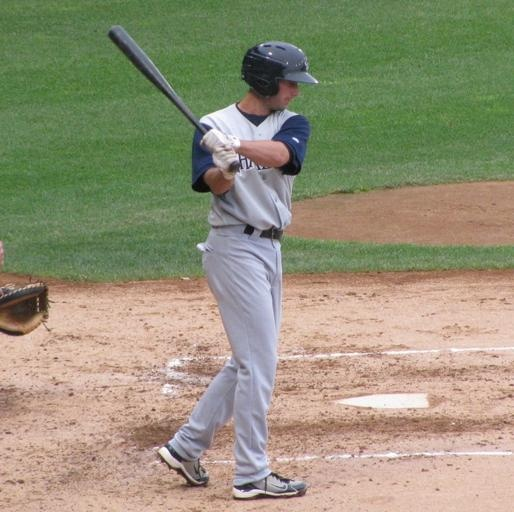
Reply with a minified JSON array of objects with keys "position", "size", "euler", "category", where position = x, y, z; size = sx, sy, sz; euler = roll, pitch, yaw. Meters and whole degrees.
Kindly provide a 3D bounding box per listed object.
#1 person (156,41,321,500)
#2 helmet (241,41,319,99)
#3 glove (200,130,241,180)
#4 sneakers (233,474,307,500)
[{"position":[-0.036,0.085,7.648],"size":[0.883,3.015,0.747],"euler":[3,11,-9],"category":"person"},{"position":[0.141,-1.231,7.603],"size":[0.513,0.279,0.338],"euler":[5,14,14],"category":"helmet"},{"position":[-0.245,-0.654,7.337],"size":[0.271,0.308,0.184],"euler":[5,11,4],"category":"glove"},{"position":[0.099,1.542,7.716],"size":[0.523,0.212,0.177],"euler":[-1,-3,-5],"category":"sneakers"}]
